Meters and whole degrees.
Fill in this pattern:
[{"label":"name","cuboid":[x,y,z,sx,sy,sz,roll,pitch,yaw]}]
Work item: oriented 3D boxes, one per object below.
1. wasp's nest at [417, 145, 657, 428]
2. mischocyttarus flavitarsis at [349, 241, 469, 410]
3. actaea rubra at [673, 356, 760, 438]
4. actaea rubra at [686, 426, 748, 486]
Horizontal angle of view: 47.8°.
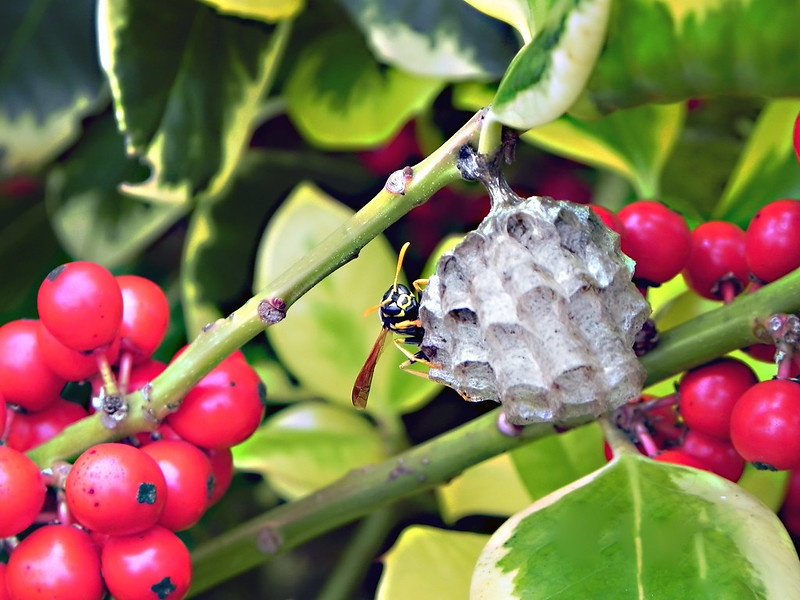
[{"label":"wasp's nest","cuboid":[0.126,0.006,0.800,0.183,0.257,0.178,6,27,14]},{"label":"mischocyttarus flavitarsis","cuboid":[0.010,0.029,1.046,0.100,0.208,0.096,-15,29,-38]},{"label":"actaea rubra","cuboid":[0.318,0.099,0.914,0.058,0.083,0.073,-10,21,-23]},{"label":"actaea rubra","cuboid":[0.329,0.161,0.941,0.033,0.066,0.047,-6,22,-30]}]
